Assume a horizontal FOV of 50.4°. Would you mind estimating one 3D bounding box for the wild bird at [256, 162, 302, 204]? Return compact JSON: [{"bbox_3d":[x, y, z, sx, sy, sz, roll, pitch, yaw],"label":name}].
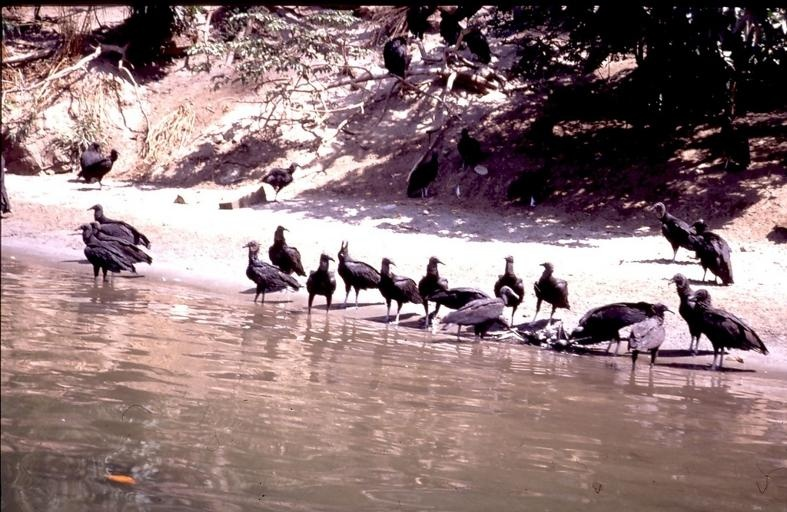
[{"bbox_3d":[-4.391,-2.996,32.306,1.779,1.155,0.792,-8,15,-39],"label":"wild bird"}]
